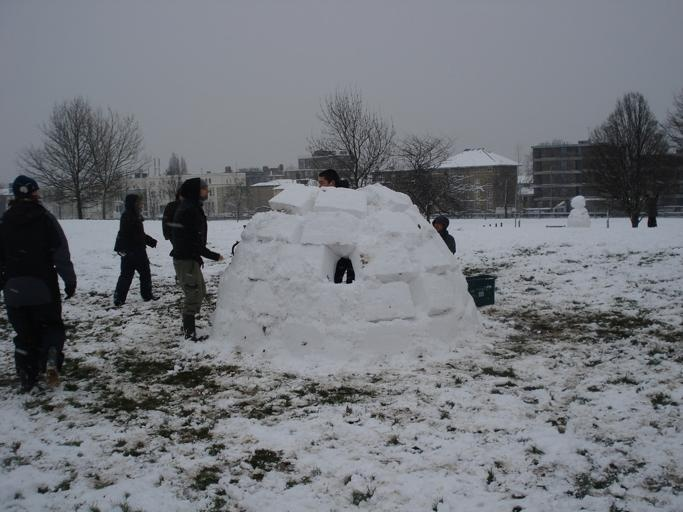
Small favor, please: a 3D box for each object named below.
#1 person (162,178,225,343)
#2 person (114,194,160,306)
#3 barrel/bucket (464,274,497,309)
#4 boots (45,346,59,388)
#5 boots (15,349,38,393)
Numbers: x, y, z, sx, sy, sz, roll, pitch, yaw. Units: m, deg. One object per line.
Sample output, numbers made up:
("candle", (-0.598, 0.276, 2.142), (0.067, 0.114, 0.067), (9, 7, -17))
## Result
("person", (-1.884, 0.011, 8.064), (0.498, 1.969, 0.670), (-4, 9, -16))
("person", (-3.304, -0.129, 10.115), (0.466, 1.714, 0.817), (1, 9, 18))
("barrel/bucket", (2.056, 0.518, 9.495), (0.283, 0.456, 0.597), (7, 12, 43))
("boots", (-2.977, 1.159, 6.605), (0.129, 0.418, 0.164), (3, -9, -30))
("boots", (-3.278, 1.168, 6.732), (0.188, 0.478, 0.243), (5, 11, 37))
